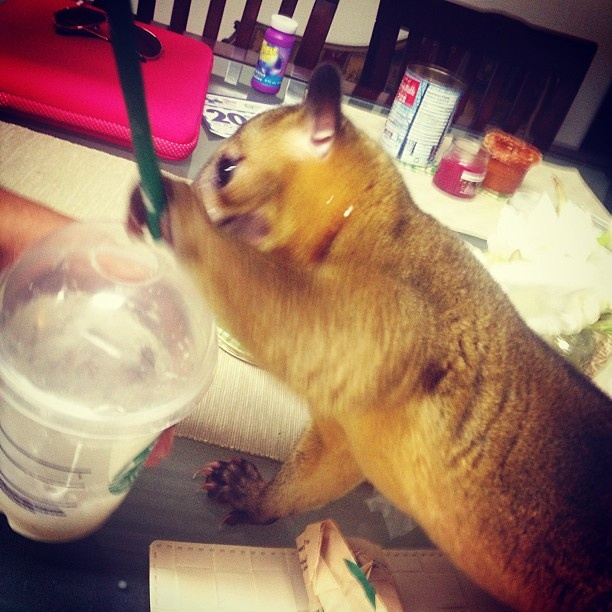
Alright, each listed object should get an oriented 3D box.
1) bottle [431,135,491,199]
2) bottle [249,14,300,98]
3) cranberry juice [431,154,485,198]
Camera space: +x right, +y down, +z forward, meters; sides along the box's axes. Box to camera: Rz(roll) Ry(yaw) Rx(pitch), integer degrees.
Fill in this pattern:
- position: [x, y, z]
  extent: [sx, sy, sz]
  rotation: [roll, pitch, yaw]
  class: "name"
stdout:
- position: [0.198, -0.164, 0.671]
  extent: [0.058, 0.061, 0.044]
  rotation: [-12, 40, -33]
  class: "bottle"
- position: [-0.054, -0.419, 0.916]
  extent: [0.050, 0.113, 0.054]
  rotation: [15, 37, -11]
  class: "bottle"
- position: [0.173, -0.147, 0.650]
  extent: [0.055, 0.045, 0.058]
  rotation: [22, 24, 6]
  class: "cranberry juice"
